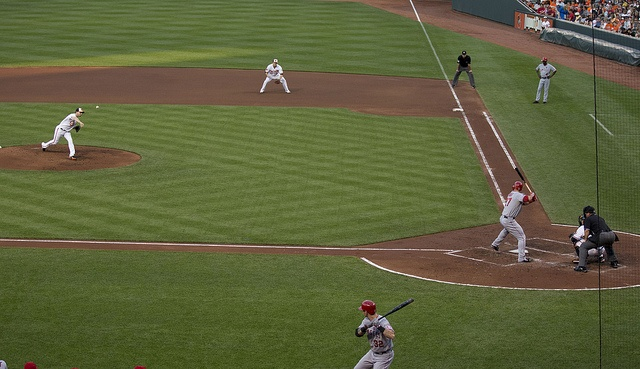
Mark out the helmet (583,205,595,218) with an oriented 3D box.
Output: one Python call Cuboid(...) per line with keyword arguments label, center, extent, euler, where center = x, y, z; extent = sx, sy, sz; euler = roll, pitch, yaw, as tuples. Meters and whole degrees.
Cuboid(label="helmet", center=(12.255, 1.231, 38.000), extent=(0.595, 0.436, 0.577), euler=(3, 17, 13))
